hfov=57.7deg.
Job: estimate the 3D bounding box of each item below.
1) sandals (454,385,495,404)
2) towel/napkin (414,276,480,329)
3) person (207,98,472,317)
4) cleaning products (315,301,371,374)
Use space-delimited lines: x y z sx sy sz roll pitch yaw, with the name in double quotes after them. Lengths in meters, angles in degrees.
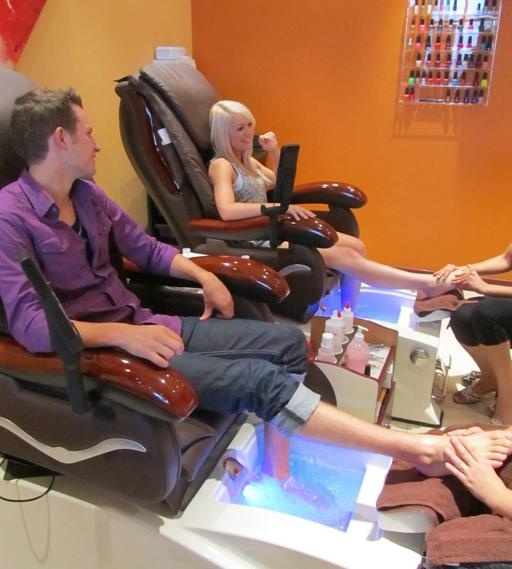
0.956 0.478 2.036 0.156 0.038 0.073 -8 31 13 "sandals"
0.823 0.083 2.013 0.219 0.071 0.205 -12 16 9 "towel/napkin"
0.357 -0.383 2.347 1.315 0.788 0.660 12 12 1 "person"
0.304 0.181 1.664 0.187 0.229 0.232 -3 20 -9 "cleaning products"
